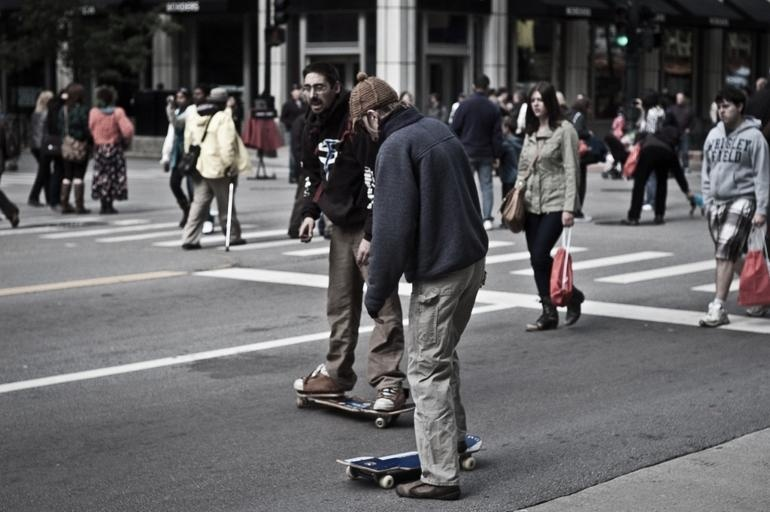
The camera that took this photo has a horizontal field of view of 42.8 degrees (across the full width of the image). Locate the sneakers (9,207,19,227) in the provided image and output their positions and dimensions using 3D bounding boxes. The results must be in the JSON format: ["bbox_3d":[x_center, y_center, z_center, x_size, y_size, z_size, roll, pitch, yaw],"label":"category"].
[{"bbox_3d":[-6.319,-0.659,16.721,0.131,0.309,0.112,36,64,29],"label":"sneakers"}]

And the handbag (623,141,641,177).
[{"bbox_3d":[4.498,-1.757,17.806,0.146,0.621,0.315,24,-13,-17],"label":"handbag"}]

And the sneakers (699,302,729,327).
[{"bbox_3d":[3.505,0.638,10.425,0.179,0.213,0.387,1,4,40],"label":"sneakers"}]

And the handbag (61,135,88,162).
[{"bbox_3d":[-5.921,-2.044,18.750,0.375,0.437,0.186,8,15,12],"label":"handbag"}]

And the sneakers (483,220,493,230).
[{"bbox_3d":[1.626,-0.468,15.390,0.142,0.186,0.428,-1,1,5],"label":"sneakers"}]

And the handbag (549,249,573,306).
[{"bbox_3d":[1.831,0.244,10.126,0.227,0.605,0.301,1,9,10],"label":"handbag"}]

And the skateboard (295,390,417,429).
[{"bbox_3d":[-0.232,1.229,7.885,1.084,0.205,0.349,5,9,38],"label":"skateboard"}]

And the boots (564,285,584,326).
[{"bbox_3d":[1.990,0.552,10.348,0.209,0.543,0.160,-3,12,-44],"label":"boots"}]

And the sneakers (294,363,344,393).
[{"bbox_3d":[-0.540,1.017,8.011,0.349,0.181,0.212,9,2,22],"label":"sneakers"}]

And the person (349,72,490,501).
[{"bbox_3d":[0.266,0.217,6.707,0.851,2.808,0.674,1,9,5],"label":"person"}]

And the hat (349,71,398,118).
[{"bbox_3d":[-0.104,-1.084,6.860,0.287,0.233,0.281,-35,21,-26],"label":"hat"}]

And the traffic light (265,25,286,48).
[{"bbox_3d":[-3.152,-6.334,28.269,0.505,0.584,0.595,-2,10,-7],"label":"traffic light"}]
